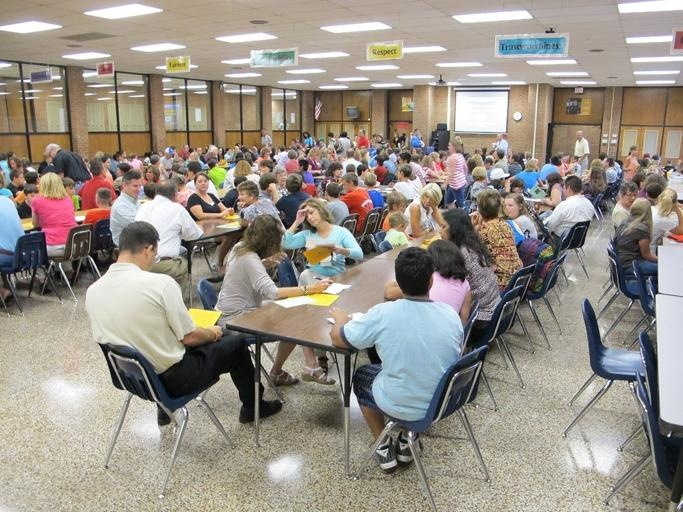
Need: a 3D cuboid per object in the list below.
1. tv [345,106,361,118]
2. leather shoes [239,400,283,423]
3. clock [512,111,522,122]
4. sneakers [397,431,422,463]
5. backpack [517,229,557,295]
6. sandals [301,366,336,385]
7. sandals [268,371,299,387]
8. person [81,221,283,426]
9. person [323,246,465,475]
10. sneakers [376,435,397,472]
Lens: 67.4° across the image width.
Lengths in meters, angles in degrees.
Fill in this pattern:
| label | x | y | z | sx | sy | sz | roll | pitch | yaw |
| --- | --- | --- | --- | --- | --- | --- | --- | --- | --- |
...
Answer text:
| label | x | y | z | sx | sy | sz | roll | pitch | yaw |
| --- | --- | --- | --- | --- | --- | --- | --- | --- | --- |
| tv | 0.535 | -6.872 | 24.481 | 0.545 | 0.621 | 0.591 | -1 | 13 | 14 |
| leather shoes | -0.633 | 1.214 | 4.151 | 0.130 | 0.172 | 0.374 | 7 | 9 | 38 |
| clock | 7.111 | -5.708 | 20.761 | 0.395 | 0.404 | 0.127 | 4 | 15 | 25 |
| sneakers | 0.494 | 1.361 | 3.685 | 0.128 | 0.174 | 0.365 | -3 | -3 | 12 |
| backpack | 1.999 | 0.056 | 5.287 | 0.542 | 0.602 | 0.403 | -4 | 4 | 17 |
| sandals | -0.217 | 1.057 | 4.586 | 0.272 | 0.135 | 0.144 | 2 | 6 | 7 |
| sandals | -0.504 | 1.091 | 4.557 | 0.203 | 0.094 | 0.111 | -1 | 8 | -21 |
| person | -1.223 | 0.593 | 3.816 | 0.911 | 1.619 | 1.167 | 1 | 9 | 40 |
| person | 0.393 | 0.703 | 3.587 | 1.026 | 1.585 | 0.919 | 10 | 15 | 35 |
| sneakers | 0.303 | 1.407 | 3.581 | 0.120 | 0.138 | 0.304 | -12 | 2 | -6 |
